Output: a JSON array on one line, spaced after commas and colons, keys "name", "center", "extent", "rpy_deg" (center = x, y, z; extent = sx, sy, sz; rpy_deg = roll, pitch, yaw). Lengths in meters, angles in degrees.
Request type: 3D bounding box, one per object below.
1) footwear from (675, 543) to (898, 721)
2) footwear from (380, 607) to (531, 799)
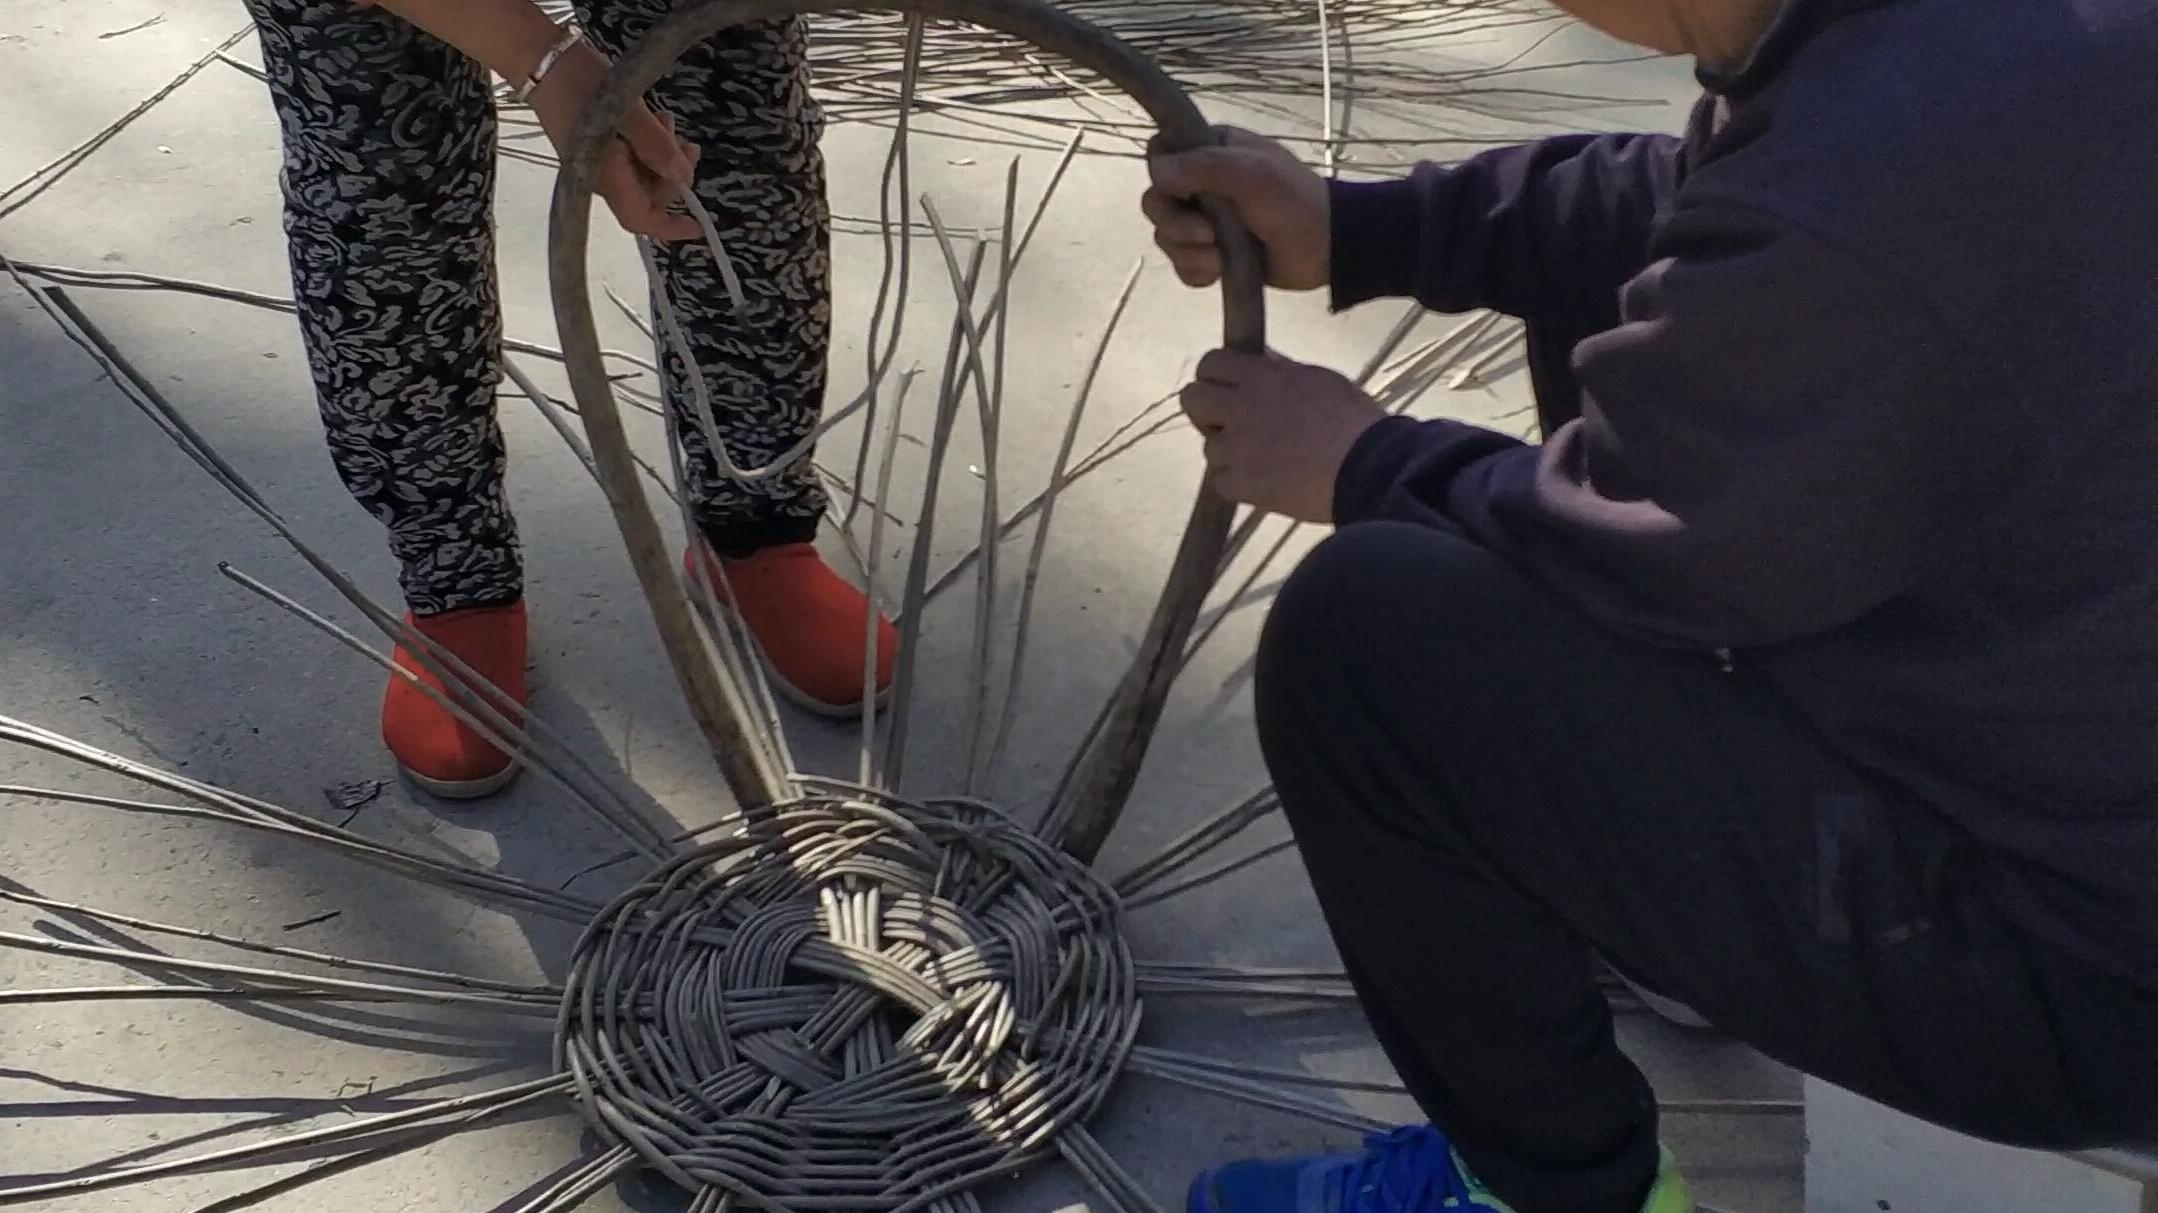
[{"name": "footwear", "center": [-0.324, 0.001, 3.003], "extent": [0.168, 0.065, 0.256], "rpy_deg": [-25, 61, -27]}, {"name": "footwear", "center": [-0.719, 0.083, 2.948], "extent": [0.163, 0.079, 0.262], "rpy_deg": [-1, 55, -6]}]
